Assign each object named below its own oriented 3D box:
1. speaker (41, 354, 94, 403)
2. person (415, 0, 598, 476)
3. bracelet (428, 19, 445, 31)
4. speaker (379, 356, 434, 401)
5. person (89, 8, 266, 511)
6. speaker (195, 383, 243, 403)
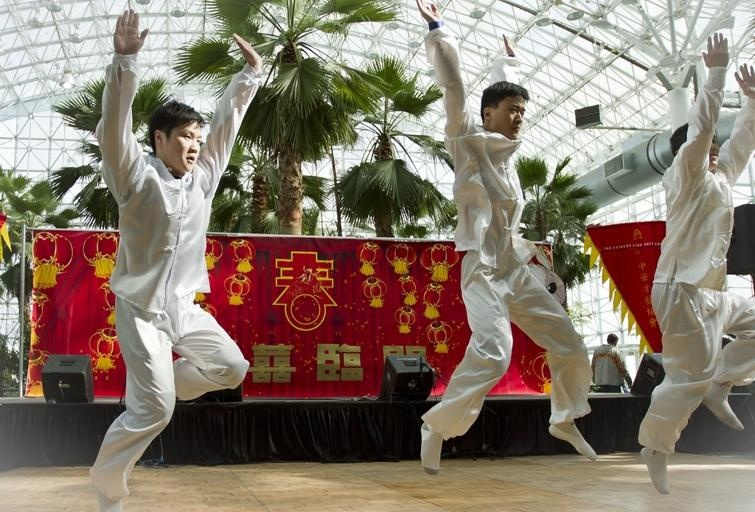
[{"bbox_3d":[-3.672,1.440,8.678,0.477,0.553,0.552,-1,20,-6],"label":"speaker"},{"bbox_3d":[1.019,-0.177,6.273,1.439,4.113,0.522,0,-2,-11],"label":"person"},{"bbox_3d":[0.482,-1.937,6.076,0.098,0.081,0.104,4,3,-1],"label":"bracelet"},{"bbox_3d":[0.343,1.507,9.060,0.506,0.540,0.529,2,-12,-20],"label":"speaker"},{"bbox_3d":[-1.653,0.067,5.754,1.111,3.821,0.522,1,-3,-36],"label":"person"},{"bbox_3d":[-1.871,1.671,8.650,0.460,0.320,0.463,8,-12,-39],"label":"speaker"}]
